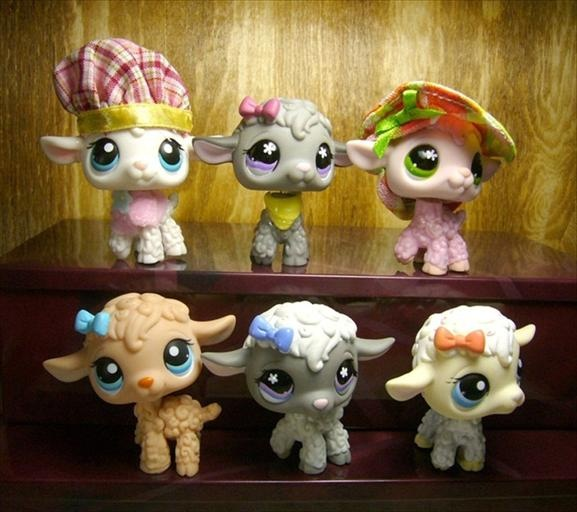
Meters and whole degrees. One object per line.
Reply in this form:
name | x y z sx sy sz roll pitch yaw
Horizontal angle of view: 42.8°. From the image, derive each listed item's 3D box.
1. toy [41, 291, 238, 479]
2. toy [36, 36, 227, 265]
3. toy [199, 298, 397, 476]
toy | -0.388 0.318 1.864 0.364 0.440 0.187 -1 0 -11
toy | -0.458 -0.277 1.986 0.394 0.590 0.262 3 -2 -9
toy | 0.020 0.327 1.825 0.432 0.431 0.266 4 -2 -38
